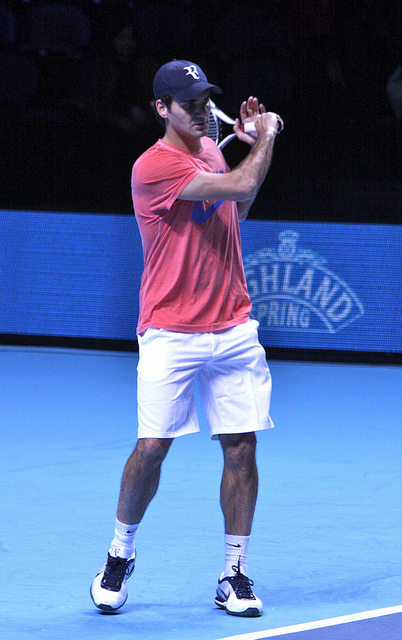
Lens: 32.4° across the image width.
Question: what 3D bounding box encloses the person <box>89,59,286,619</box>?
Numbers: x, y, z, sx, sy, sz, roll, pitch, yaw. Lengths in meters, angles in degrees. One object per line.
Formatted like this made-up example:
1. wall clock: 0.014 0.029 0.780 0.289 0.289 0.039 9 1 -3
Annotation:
1. person: 0.003 0.035 2.060 0.501 1.546 0.727 5 17 0
